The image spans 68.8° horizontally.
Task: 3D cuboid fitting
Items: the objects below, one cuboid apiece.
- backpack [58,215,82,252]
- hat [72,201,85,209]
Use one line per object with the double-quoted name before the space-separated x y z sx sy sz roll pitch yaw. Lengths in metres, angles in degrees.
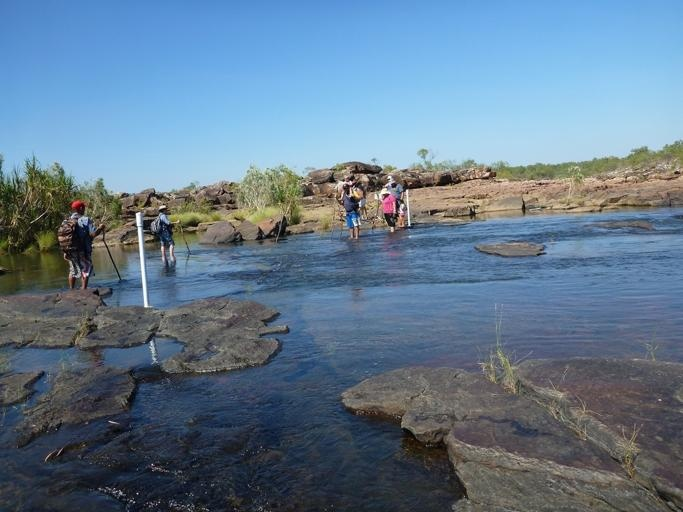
"backpack" -6.757 -0.509 12.342 0.423 0.885 0.493 -1 16 16
"hat" -6.647 -1.272 12.588 0.265 0.157 0.324 0 12 3
